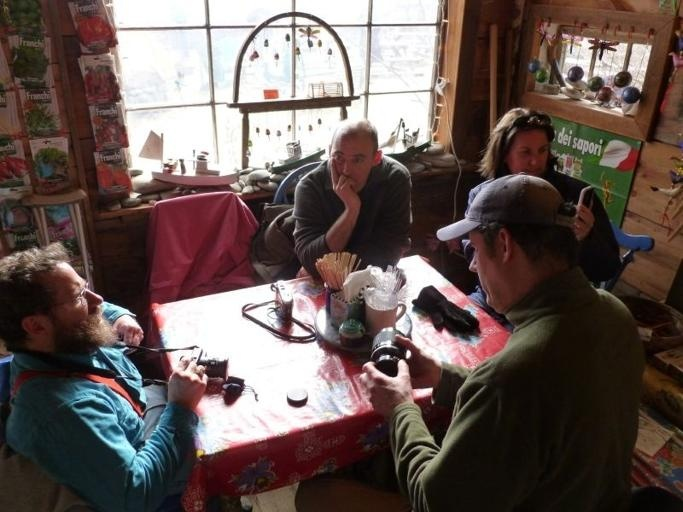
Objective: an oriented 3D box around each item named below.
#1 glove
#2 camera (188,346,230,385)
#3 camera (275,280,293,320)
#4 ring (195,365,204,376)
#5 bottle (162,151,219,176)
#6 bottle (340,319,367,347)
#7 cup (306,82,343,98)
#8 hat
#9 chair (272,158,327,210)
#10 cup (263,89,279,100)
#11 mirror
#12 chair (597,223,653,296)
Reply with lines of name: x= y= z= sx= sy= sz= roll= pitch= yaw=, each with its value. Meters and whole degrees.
glove: x=0.435 y=0.229 z=2.098 sx=0.163 sy=0.075 sz=0.217 roll=-25 pitch=35 yaw=-22
camera: x=-0.464 y=0.388 z=1.776 sx=0.106 sy=0.064 sz=0.107 roll=0 pitch=35 yaw=-20
camera: x=-0.234 y=0.206 z=2.040 sx=0.033 sy=0.084 sz=0.095 roll=2 pitch=-22 yaw=42
ring: x=-0.497 y=0.404 z=1.745 sx=0.022 sy=0.032 sz=0.024 roll=8 pitch=-8 yaw=1
bottle: x=-0.958 y=-0.595 z=3.170 sx=0.338 sy=0.130 sz=0.211 roll=-6 pitch=20 yaw=-19
bottle: x=0.039 y=0.288 z=1.929 sx=0.090 sy=0.082 sz=0.093 roll=2 pitch=19 yaw=6
cup: x=-0.103 y=-1.121 z=3.323 sx=0.240 sy=0.098 sz=0.106 roll=0 pitch=19 yaw=-2
hat: x=0.501 y=-0.138 z=1.440 sx=0.269 sy=0.149 sz=0.172 roll=6 pitch=-1 yaw=23
chair: x=-0.288 y=-0.455 z=3.145 sx=0.290 sy=0.329 sz=0.408 roll=-15 pitch=-9 yaw=-11
cup: x=-0.456 y=-1.060 z=3.234 sx=0.100 sy=0.063 sz=0.061 roll=-4 pitch=19 yaw=-13
mirror: x=1.561 y=-1.096 z=2.972 sx=0.108 sy=0.652 sz=0.928 roll=-13 pitch=34 yaw=-27
chair: x=1.518 y=0.004 z=2.647 sx=0.255 sy=0.272 sz=0.368 roll=32 pitch=22 yaw=31
